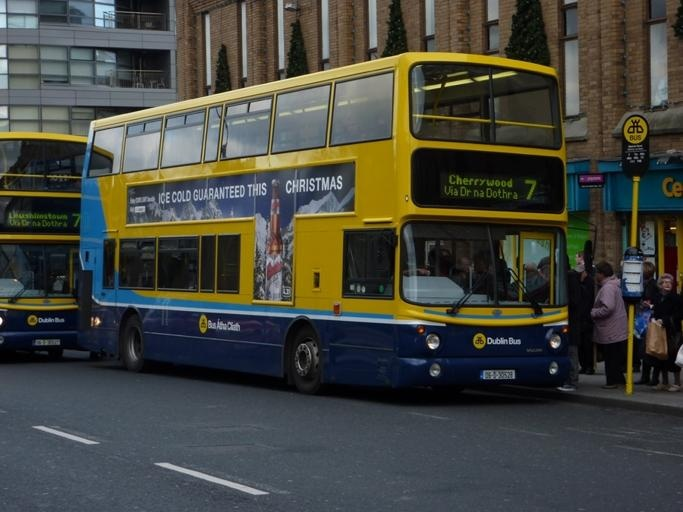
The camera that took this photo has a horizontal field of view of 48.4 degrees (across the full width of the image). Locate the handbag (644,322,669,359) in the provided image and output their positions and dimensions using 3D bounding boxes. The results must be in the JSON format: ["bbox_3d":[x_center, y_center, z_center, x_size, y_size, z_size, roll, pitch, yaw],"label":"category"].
[{"bbox_3d":[5.328,1.411,12.771,0.452,0.701,0.222,11,-18,-34],"label":"handbag"}]

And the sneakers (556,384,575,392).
[{"bbox_3d":[3.846,2.252,12.992,0.316,0.159,0.132,3,-4,-5],"label":"sneakers"}]

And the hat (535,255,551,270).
[{"bbox_3d":[3.330,0.090,12.514,0.227,0.134,0.155,-33,21,-37],"label":"hat"}]
